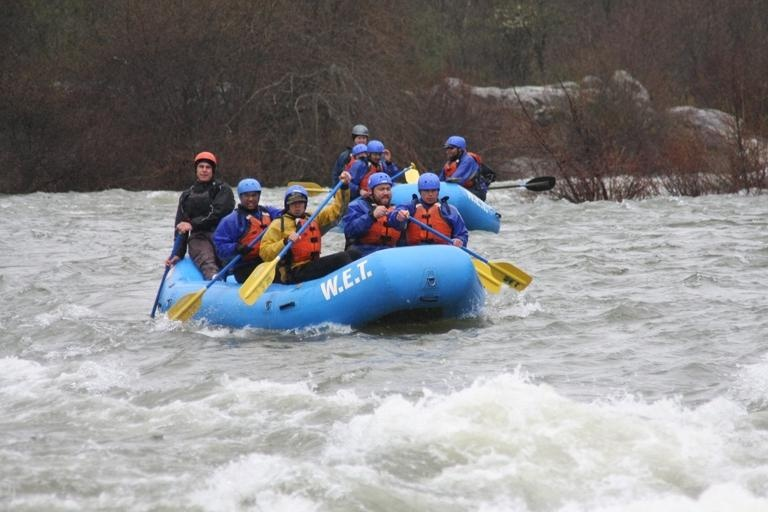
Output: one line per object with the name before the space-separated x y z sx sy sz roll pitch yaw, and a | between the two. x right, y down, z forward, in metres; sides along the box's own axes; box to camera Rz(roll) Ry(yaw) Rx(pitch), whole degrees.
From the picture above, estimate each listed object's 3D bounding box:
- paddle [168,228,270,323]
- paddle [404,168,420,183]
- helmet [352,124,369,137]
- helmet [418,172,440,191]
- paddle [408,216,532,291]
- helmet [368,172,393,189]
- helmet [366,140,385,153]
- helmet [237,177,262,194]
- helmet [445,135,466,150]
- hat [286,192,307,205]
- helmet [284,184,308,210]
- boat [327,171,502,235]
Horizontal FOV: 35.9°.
paddle | -2.717 0.384 19.856 2.312 0.390 0.099 -33 -23 -16
paddle | 0.636 -1.734 26.213 0.434 0.370 0.033 8 -19 36
helmet | -0.513 -2.604 24.959 0.486 0.193 0.586 0 3 -7
helmet | 0.768 -1.267 20.348 0.301 0.318 0.257 -2 21 -3
paddle | 1.322 -0.114 19.990 2.467 0.451 0.101 29 47 10
helmet | -0.077 -1.262 20.023 0.388 0.258 0.368 -1 3 8
helmet | -0.142 -2.134 23.344 0.337 0.243 0.329 -6 13 -37
helmet | -2.294 -1.145 20.008 0.297 0.356 0.269 -3 40 -16
helmet | 1.521 -2.374 25.009 0.530 0.206 0.334 6 8 4
hat | -1.476 -0.959 19.732 0.240 0.246 0.202 1 -4 -10
helmet | -1.512 -1.002 19.830 0.352 0.346 0.416 2 -5 -10
boat | 1.394 -1.152 24.792 1.789 0.523 1.725 -14 27 -33
